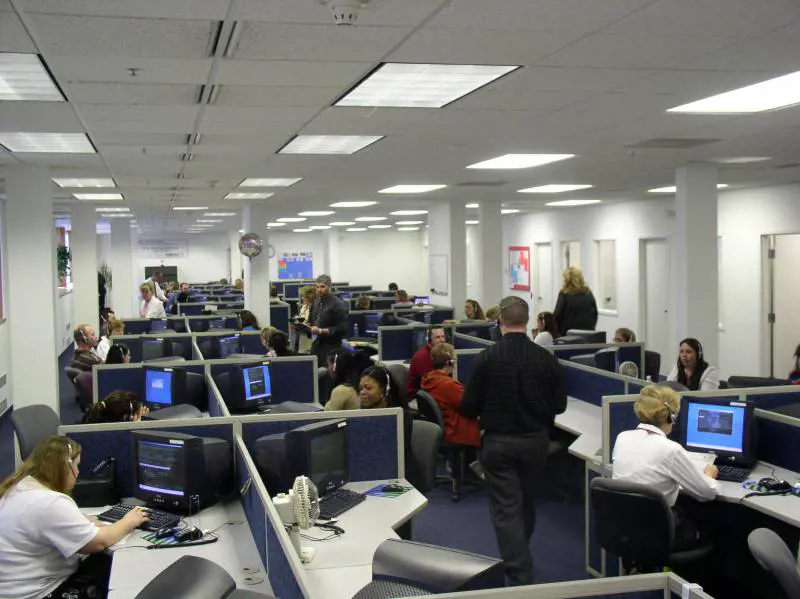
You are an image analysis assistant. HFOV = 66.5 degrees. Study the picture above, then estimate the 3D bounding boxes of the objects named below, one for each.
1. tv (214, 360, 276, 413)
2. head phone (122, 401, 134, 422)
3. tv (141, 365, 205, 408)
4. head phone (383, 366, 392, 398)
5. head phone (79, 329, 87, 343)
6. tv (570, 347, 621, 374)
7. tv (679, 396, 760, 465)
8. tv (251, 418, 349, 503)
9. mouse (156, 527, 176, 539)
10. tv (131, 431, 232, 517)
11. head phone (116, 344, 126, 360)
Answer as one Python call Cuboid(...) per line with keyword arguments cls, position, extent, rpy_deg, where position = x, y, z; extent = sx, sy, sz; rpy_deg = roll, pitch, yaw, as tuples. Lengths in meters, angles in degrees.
Cuboid(cls="tv", position=(-1.383, 0.719, 5.383), extent=(0.437, 0.456, 0.425), rpy_deg=(2, 4, 44))
Cuboid(cls="head phone", position=(-1.816, 0.749, 4.100), extent=(0.039, 0.111, 0.080), rpy_deg=(8, 0, -3))
Cuboid(cls="tv", position=(-1.908, 0.730, 5.193), extent=(0.391, 0.324, 0.428), rpy_deg=(2, 3, 41))
Cuboid(cls="head phone", position=(-0.085, 0.594, 4.325), extent=(0.052, 0.148, 0.108), rpy_deg=(1, -7, -5))
Cuboid(cls="head phone", position=(-3.784, 0.440, 7.350), extent=(0.043, 0.122, 0.094), rpy_deg=(-23, -7, -26))
Cuboid(cls="tv", position=(1.862, 0.564, 5.774), extent=(0.278, 0.295, 0.281), rpy_deg=(0, 6, -5))
Cuboid(cls="tv", position=(2.096, 0.795, 4.115), extent=(0.522, 0.538, 0.339), rpy_deg=(3, 1, 34))
Cuboid(cls="tv", position=(-0.550, 0.833, 3.375), extent=(0.422, 0.329, 0.420), rpy_deg=(4, 5, 31))
Cuboid(cls="mouse", position=(-1.166, 1.162, 3.046), extent=(0.097, 0.037, 0.029), rpy_deg=(-3, 5, -44))
Cuboid(cls="tv", position=(-1.174, 0.883, 3.401), extent=(0.435, 0.405, 0.444), rpy_deg=(-1, -1, 32))
Cuboid(cls="head phone", position=(-2.807, 0.547, 6.215), extent=(0.105, 0.136, 0.132), rpy_deg=(2, 0, -25))
